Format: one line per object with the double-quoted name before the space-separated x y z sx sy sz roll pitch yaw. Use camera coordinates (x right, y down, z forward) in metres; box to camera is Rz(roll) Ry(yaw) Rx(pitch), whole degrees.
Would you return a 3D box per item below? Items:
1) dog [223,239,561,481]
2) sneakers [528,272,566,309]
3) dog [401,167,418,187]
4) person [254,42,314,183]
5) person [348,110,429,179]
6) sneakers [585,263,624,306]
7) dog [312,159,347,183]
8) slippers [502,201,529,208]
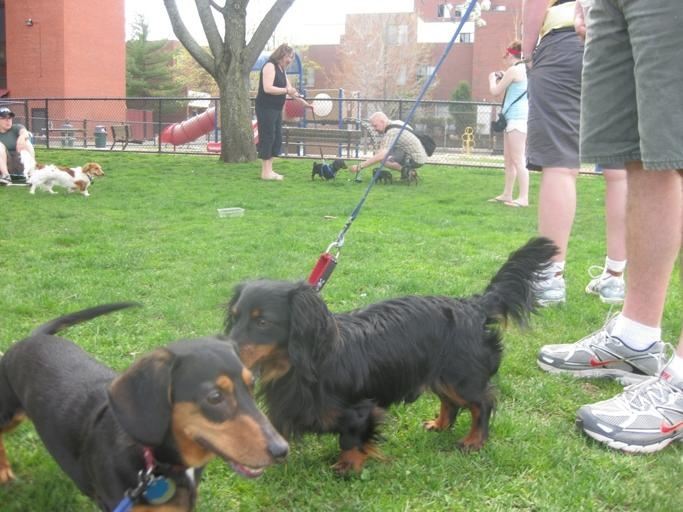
"dog" 0.184 0.492 4.433 2.089 1.241 0.936 -4 7 -19
"sneakers" 1.648 0.225 5.718 0.270 0.267 0.198 0 13 46
"dog" 1.310 -1.527 13.605 0.328 0.309 0.625 2 14 4
"person" -1.131 -2.452 12.394 0.692 2.356 1.098 0 13 -2
"person" 0.935 -2.126 14.018 1.657 1.338 0.992 3 8 19
"sneakers" 2.183 0.198 5.922 0.216 0.225 0.475 -1 15 -1
"dog" -0.180 -1.671 13.984 0.998 0.568 0.316 -8 20 -43
"slippers" 2.659 -0.787 10.862 0.286 0.080 0.143 3 2 -1
